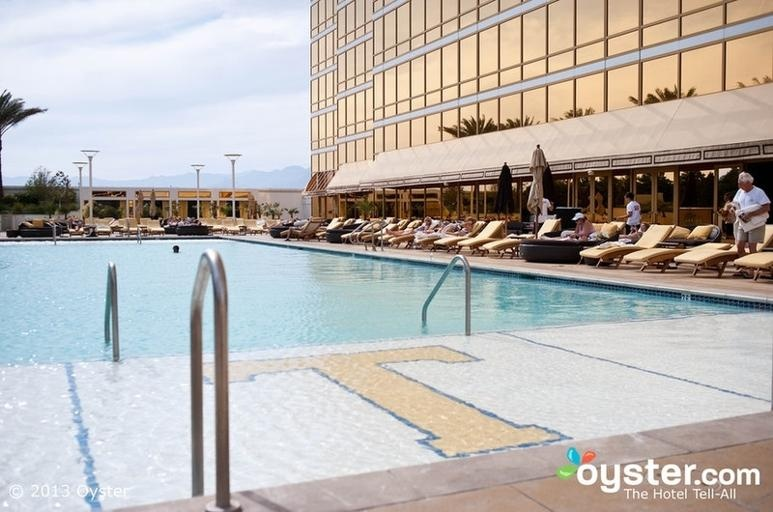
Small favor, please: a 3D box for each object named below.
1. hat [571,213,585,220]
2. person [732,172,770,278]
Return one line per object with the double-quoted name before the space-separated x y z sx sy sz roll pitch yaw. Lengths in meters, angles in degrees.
"hat" 5.850 -1.200 18.210 0.322 0.148 0.447 -8 5 38
"person" 8.216 -0.916 13.583 0.690 1.869 0.443 1 2 27
